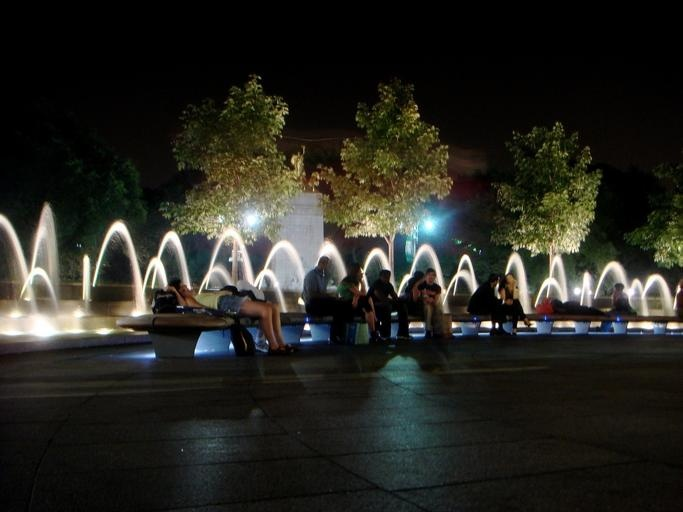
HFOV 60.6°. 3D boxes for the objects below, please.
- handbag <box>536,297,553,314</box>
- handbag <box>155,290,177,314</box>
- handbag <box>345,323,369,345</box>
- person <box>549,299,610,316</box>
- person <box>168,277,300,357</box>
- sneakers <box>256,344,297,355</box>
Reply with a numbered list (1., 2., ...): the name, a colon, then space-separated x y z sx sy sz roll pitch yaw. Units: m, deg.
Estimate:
1. handbag: 5.271 1.289 15.098 0.356 0.547 0.294 -5 -50 25
2. handbag: -2.401 0.616 7.932 0.240 0.336 0.315 6 35 -14
3. handbag: 0.281 1.400 10.576 0.333 0.472 0.474 -2 -4 9
4. person: 5.807 1.311 14.382 1.869 0.375 0.207 9 -13 -5
5. person: -1.491 0.876 8.180 1.538 0.998 0.575 -1 -1 7
6. sneakers: -0.954 1.352 8.434 0.506 0.208 0.176 -4 -6 5
